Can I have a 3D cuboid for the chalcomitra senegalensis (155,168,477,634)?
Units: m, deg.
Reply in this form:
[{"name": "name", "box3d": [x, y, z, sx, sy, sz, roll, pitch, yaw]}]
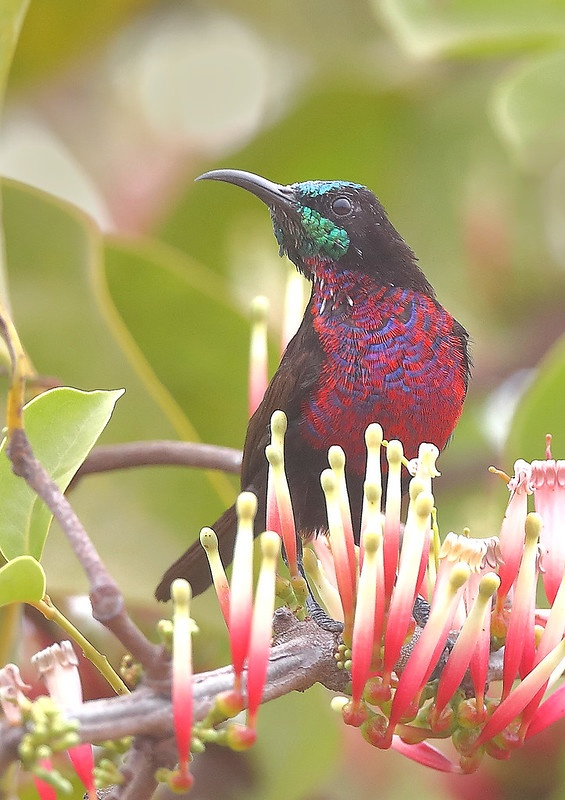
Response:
[{"name": "chalcomitra senegalensis", "box3d": [-0.060, -0.019, 1.279, 0.532, 0.654, 0.323, -2, -10, -3]}]
